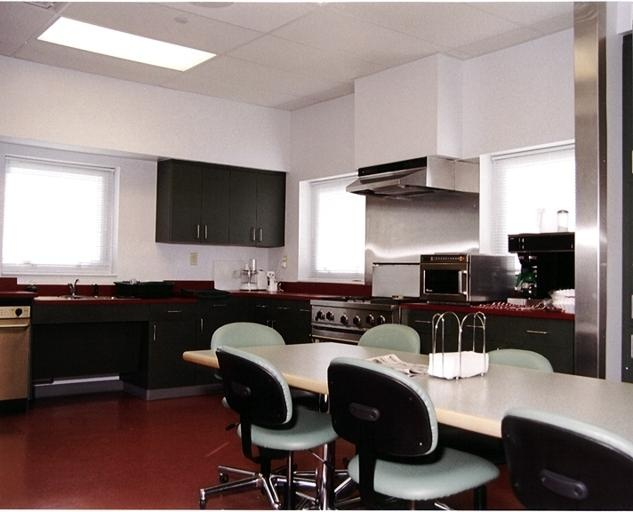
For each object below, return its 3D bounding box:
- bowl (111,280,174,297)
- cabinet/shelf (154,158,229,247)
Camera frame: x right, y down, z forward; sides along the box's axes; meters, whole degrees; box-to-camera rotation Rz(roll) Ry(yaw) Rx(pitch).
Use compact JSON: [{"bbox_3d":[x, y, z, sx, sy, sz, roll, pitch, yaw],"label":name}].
[{"bbox_3d":[-1.766,0.341,4.999,0.600,0.171,0.394,2,-2,-8],"label":"bowl"},{"bbox_3d":[-1.361,-0.591,5.502,0.331,0.879,0.729,4,4,45],"label":"cabinet/shelf"}]
